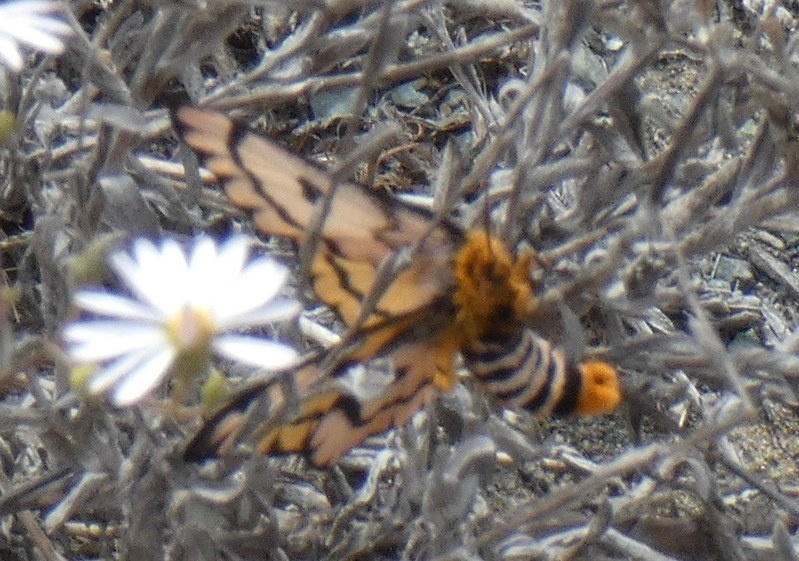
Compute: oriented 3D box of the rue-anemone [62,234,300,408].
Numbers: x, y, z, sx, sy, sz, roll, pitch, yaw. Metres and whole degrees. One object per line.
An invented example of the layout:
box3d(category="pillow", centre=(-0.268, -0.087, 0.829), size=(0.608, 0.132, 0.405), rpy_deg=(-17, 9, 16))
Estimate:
box3d(category="rue-anemone", centre=(-0.128, 0.020, 1.337), size=(0.100, 0.045, 0.104), rpy_deg=(-10, 84, 1))
